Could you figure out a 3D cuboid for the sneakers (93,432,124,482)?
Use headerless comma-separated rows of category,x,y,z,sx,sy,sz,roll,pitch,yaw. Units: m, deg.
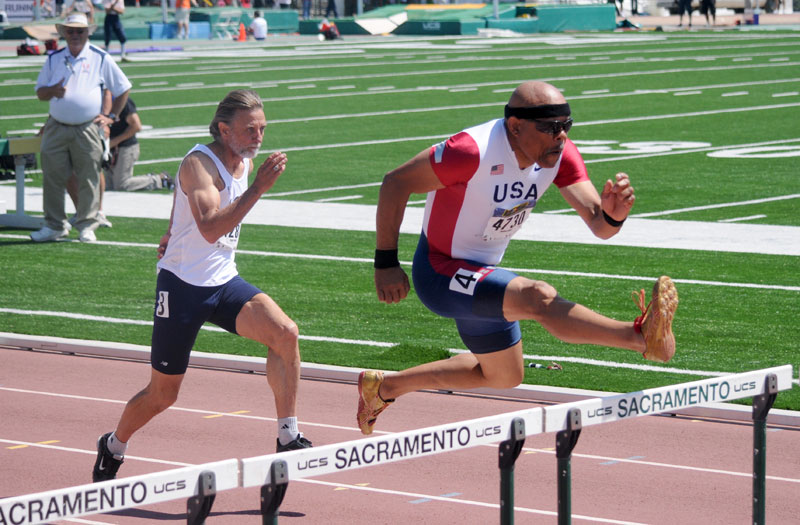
sneakers,-2.325,1.562,10.160,0.202,0.431,0.166,23,13,40

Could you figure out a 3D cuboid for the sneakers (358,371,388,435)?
sneakers,-0.239,1.129,10.570,0.275,0.550,0.200,4,22,4

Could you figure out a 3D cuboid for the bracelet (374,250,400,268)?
bracelet,-0.104,-0.029,9.814,0.166,0.105,0.156,1,6,16

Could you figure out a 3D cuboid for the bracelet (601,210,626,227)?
bracelet,1.671,-0.354,9.943,0.151,0.103,0.141,22,8,-4

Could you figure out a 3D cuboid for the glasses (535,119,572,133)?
glasses,1.187,-1.024,9.641,0.317,0.105,0.105,-6,12,-30
